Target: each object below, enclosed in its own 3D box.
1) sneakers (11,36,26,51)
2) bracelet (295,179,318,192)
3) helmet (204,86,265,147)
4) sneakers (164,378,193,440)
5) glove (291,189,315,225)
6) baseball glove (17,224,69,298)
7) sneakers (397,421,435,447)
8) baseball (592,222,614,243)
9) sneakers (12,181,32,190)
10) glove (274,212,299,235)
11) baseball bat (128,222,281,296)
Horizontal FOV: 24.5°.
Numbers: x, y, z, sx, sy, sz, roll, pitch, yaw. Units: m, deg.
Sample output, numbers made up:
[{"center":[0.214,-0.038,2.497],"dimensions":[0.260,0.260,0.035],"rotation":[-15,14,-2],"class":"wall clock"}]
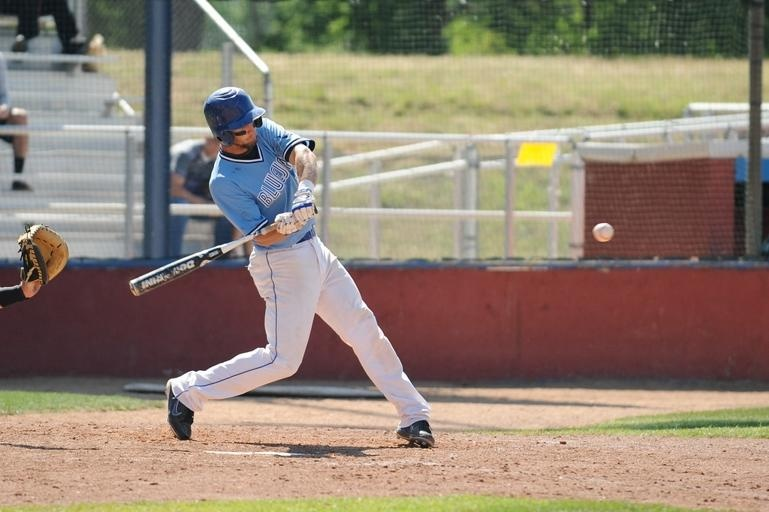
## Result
[{"center":[-3.488,-1.988,16.820],"dimensions":[0.151,0.163,0.047],"rotation":[0,7,8],"class":"sneakers"},{"center":[-0.653,-0.555,14.552],"dimensions":[0.122,0.114,0.113],"rotation":[5,-4,-3],"class":"bracelet"},{"center":[-1.232,-1.168,14.796],"dimensions":[0.586,0.425,0.456],"rotation":[-10,21,2],"class":"helmet"},{"center":[-1.734,1.274,14.783],"dimensions":[0.228,0.481,0.169],"rotation":[-11,-8,6],"class":"sneakers"},{"center":[-0.672,-0.388,14.476],"dimensions":[0.199,0.246,0.117],"rotation":[-2,-6,0],"class":"glove"},{"center":[-2.886,-0.002,14.894],"dimensions":[0.397,0.495,0.200],"rotation":[-3,7,-13],"class":"baseball glove"},{"center":[0.256,1.484,14.767],"dimensions":[0.163,0.154,0.362],"rotation":[7,-3,-19],"class":"sneakers"},{"center":[2.041,-0.201,16.513],"dimensions":[0.204,0.190,0.279],"rotation":[0,6,6],"class":"baseball"},{"center":[-3.644,-0.682,17.661],"dimensions":[0.146,0.047,0.105],"rotation":[3,12,-38],"class":"sneakers"},{"center":[-0.812,-0.260,14.563],"dimensions":[0.214,0.197,0.204],"rotation":[-2,6,-5],"class":"glove"},{"center":[-1.682,0.058,16.186],"dimensions":[1.514,0.151,0.162],"rotation":[-23,0,-4],"class":"baseball bat"}]
